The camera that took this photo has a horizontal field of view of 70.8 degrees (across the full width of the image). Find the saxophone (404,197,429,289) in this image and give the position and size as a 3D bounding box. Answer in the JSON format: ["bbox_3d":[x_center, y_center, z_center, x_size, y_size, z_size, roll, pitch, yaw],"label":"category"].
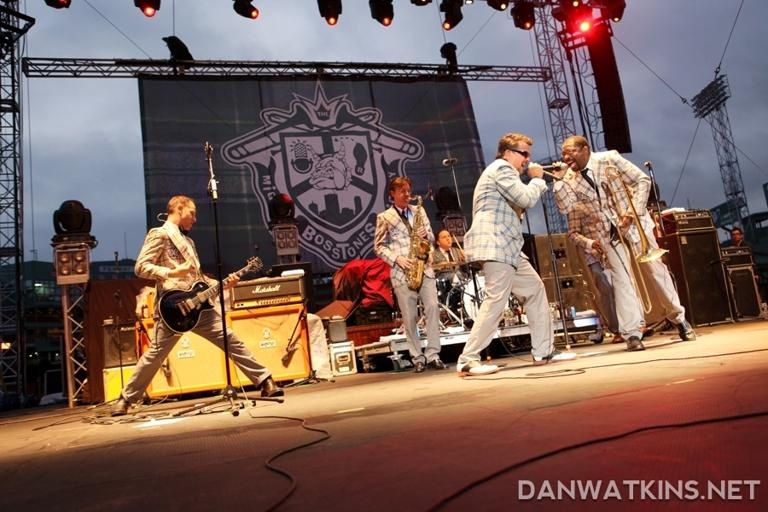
[{"bbox_3d":[0.362,-0.113,6.297,0.249,1.131,0.268,1,0,-2],"label":"saxophone"}]

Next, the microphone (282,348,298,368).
[{"bbox_3d":[-1.201,1.268,6.785,0.124,0.238,0.056,29,5,-39],"label":"microphone"}]

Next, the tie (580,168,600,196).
[{"bbox_3d":[2.198,-0.772,5.769,0.106,0.467,0.100,-15,0,21],"label":"tie"}]

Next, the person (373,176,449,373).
[{"bbox_3d":[0.294,0.176,6.566,0.818,2.326,0.810,2,0,-5],"label":"person"}]

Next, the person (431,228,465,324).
[{"bbox_3d":[0.944,0.279,7.856,0.470,1.400,0.479,9,-1,6],"label":"person"}]

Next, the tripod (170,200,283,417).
[{"bbox_3d":[-1.644,0.343,5.688,1.197,2.434,0.940,2,-3,-1],"label":"tripod"}]

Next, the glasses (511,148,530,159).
[{"bbox_3d":[1.295,-0.994,5.173,0.121,0.038,0.122,31,7,37],"label":"glasses"}]

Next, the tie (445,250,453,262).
[{"bbox_3d":[0.972,0.009,8.061,0.091,0.037,0.153,3,33,-2],"label":"tie"}]

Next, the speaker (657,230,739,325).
[{"bbox_3d":[4.305,0.207,7.777,0.773,1.407,1.065,1,7,1],"label":"speaker"}]

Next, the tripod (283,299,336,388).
[{"bbox_3d":[-0.870,1.259,7.568,0.792,1.032,0.879,5,-13,-37],"label":"tripod"}]

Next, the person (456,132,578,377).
[{"bbox_3d":[1.150,-0.052,5.183,1.038,2.124,0.513,-7,-3,5],"label":"person"}]

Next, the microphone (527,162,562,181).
[{"bbox_3d":[1.606,-0.835,5.268,0.196,0.106,0.268,-10,-12,41],"label":"microphone"}]
